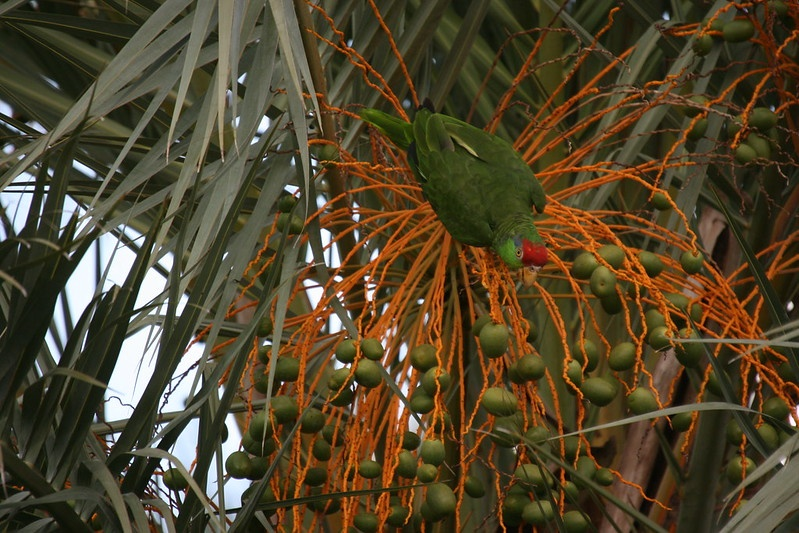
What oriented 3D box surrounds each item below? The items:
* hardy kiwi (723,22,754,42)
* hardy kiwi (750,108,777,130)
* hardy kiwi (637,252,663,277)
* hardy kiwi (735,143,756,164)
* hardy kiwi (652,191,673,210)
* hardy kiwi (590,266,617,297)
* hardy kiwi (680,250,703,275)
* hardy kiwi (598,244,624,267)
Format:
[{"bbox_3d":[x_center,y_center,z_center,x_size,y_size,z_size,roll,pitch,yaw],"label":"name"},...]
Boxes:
[{"bbox_3d":[0.874,-0.604,3.339,0.059,0.055,0.048,-12,-6,9],"label":"hardy kiwi"},{"bbox_3d":[0.928,-0.373,3.327,0.063,0.053,0.062,1,-92,2],"label":"hardy kiwi"},{"bbox_3d":[0.619,-0.007,3.205,0.061,0.052,0.055,12,-63,-18],"label":"hardy kiwi"},{"bbox_3d":[0.876,-0.287,3.287,0.035,0.052,0.044,-1,-77,1],"label":"hardy kiwi"},{"bbox_3d":[0.660,-0.165,3.286,0.044,0.047,0.058,-29,-90,8],"label":"hardy kiwi"},{"bbox_3d":[0.492,0.039,3.154,0.050,0.077,0.064,-12,-60,3],"label":"hardy kiwi"},{"bbox_3d":[0.720,-0.010,3.202,0.048,0.054,0.069,-8,-64,-5],"label":"hardy kiwi"},{"bbox_3d":[0.518,-0.026,3.184,0.064,0.065,0.062,5,-39,8],"label":"hardy kiwi"}]
